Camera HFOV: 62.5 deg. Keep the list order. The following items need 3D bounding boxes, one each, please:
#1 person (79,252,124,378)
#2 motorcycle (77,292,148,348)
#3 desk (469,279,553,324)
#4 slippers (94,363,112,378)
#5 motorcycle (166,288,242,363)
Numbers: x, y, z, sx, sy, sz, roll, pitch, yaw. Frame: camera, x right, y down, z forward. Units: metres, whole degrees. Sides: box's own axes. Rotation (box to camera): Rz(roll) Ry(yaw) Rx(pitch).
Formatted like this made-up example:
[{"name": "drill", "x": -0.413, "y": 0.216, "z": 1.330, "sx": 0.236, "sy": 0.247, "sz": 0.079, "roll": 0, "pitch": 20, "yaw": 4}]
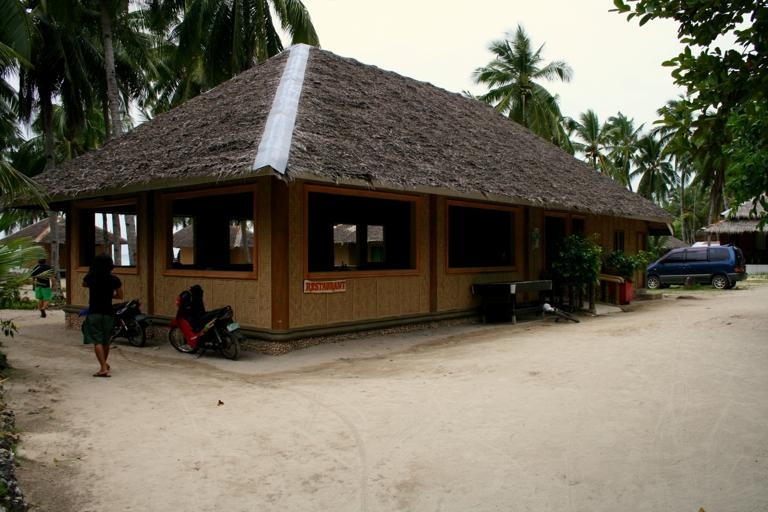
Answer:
[{"name": "person", "x": -5.195, "y": 1.081, "z": 11.572, "sx": 0.526, "sy": 2.116, "sz": 0.706, "roll": -1, "pitch": 9, "yaw": -2}, {"name": "motorcycle", "x": -6.234, "y": 1.376, "z": 14.559, "sx": 2.036, "sy": 1.399, "sz": 0.989, "roll": -2, "pitch": 9, "yaw": 28}, {"name": "desk", "x": 3.570, "y": 1.176, "z": 17.175, "sx": 2.385, "sy": 1.259, "sz": 1.256, "roll": -9, "pitch": 12, "yaw": -44}, {"name": "slippers", "x": -5.155, "y": 2.090, "z": 11.523, "sx": 0.313, "sy": 0.130, "sz": 0.177, "roll": 2, "pitch": 1, "yaw": 33}, {"name": "motorcycle", "x": -3.786, "y": 1.365, "z": 13.047, "sx": 1.863, "sy": 1.485, "sz": 0.571, "roll": 6, "pitch": 11, "yaw": 34}]
